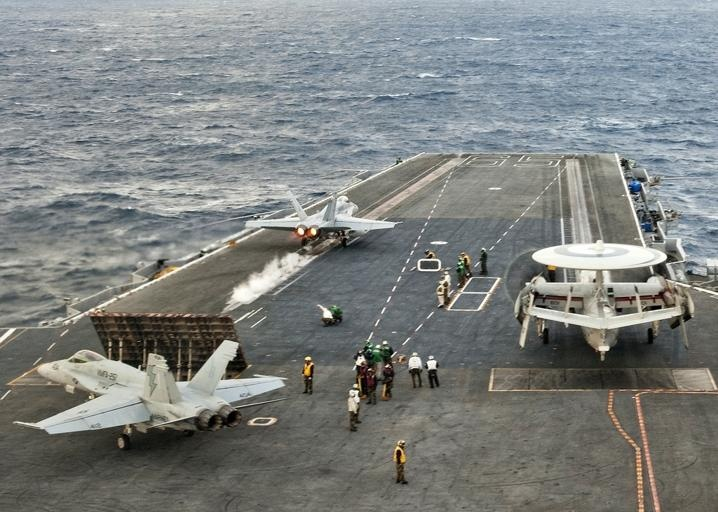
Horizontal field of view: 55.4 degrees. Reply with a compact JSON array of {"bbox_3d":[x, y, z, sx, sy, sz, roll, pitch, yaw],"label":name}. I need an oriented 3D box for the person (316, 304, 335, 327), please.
[{"bbox_3d":[-2.530,4.553,54.043,1.499,0.969,1.960,2,32,-8],"label":"person"}]

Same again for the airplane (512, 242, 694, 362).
[{"bbox_3d":[17.151,2.558,48.518,12.538,3.601,12.581,2,15,13],"label":"airplane"}]

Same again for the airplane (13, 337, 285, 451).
[{"bbox_3d":[-13.466,8.055,39.868,12.948,2.550,11.411,9,12,40],"label":"airplane"}]

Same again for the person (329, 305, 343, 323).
[{"bbox_3d":[-1.776,4.521,53.882,1.088,0.779,1.481,-1,36,4],"label":"person"}]

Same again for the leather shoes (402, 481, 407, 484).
[{"bbox_3d":[2.288,11.750,35.280,0.336,0.074,0.257,-3,20,-2],"label":"leather shoes"}]

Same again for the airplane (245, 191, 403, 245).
[{"bbox_3d":[-3.420,-3.182,71.090,14.568,2.740,8.581,5,17,20],"label":"airplane"}]

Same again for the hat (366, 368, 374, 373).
[{"bbox_3d":[0.647,7.277,43.148,0.716,0.097,0.466,0,5,-1],"label":"hat"}]
